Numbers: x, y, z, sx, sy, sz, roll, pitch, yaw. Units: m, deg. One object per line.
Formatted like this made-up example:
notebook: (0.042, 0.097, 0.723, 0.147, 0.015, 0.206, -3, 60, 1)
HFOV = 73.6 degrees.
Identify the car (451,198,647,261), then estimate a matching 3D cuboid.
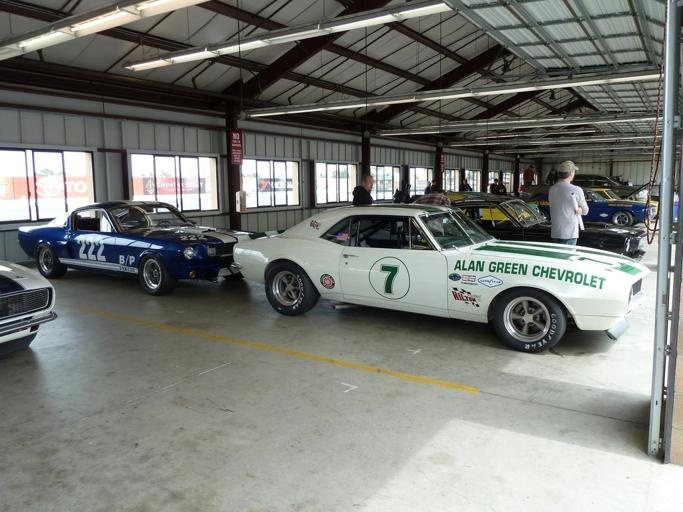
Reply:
car: (4.233, -0.682, 9.655, 4.043, 0.792, 1.665, 4, 9, 19)
